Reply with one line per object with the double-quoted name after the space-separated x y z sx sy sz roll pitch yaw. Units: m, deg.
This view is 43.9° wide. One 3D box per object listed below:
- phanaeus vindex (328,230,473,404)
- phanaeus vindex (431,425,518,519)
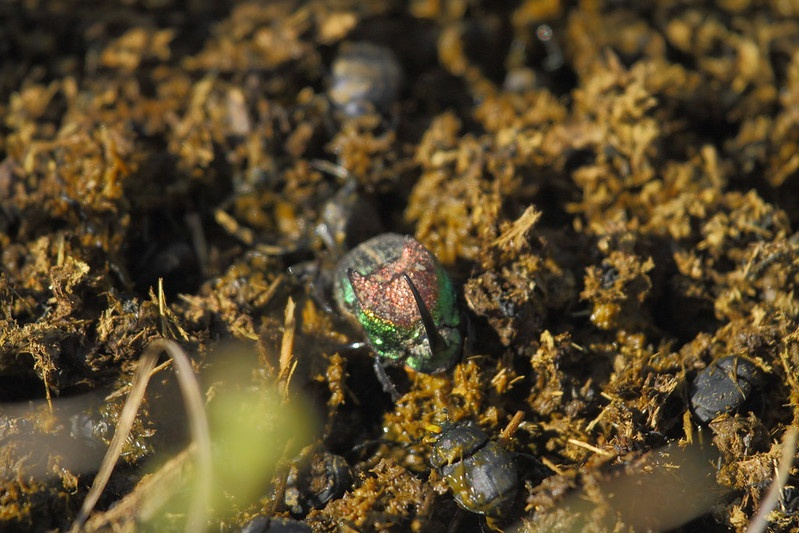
0.007 0.103 2.713 0.277 0.275 0.368 -37 49 -19 "phanaeus vindex"
0.195 0.531 2.578 0.171 0.144 0.246 -32 48 -15 "phanaeus vindex"
